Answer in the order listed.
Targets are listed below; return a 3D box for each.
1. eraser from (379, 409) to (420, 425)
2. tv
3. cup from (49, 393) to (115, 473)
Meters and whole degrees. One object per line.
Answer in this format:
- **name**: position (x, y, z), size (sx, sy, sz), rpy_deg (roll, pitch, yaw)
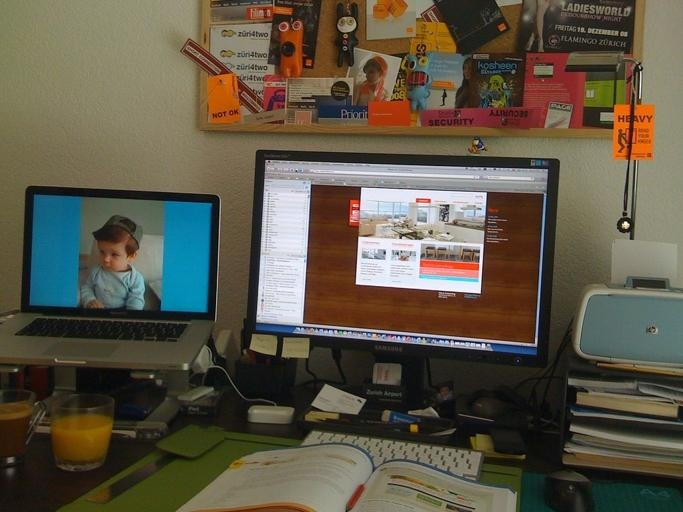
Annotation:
- **eraser**: position (0.126, 0.348, 1.281), size (0.060, 0.015, 0.032), rpy_deg (3, 9, 6)
- **tv**: position (0.136, 0.067, 1.342), size (0.640, 0.500, 0.164), rpy_deg (4, 5, 12)
- **cup**: position (-0.496, 0.346, 1.164), size (0.117, 0.124, 0.112), rpy_deg (1, -4, 0)
